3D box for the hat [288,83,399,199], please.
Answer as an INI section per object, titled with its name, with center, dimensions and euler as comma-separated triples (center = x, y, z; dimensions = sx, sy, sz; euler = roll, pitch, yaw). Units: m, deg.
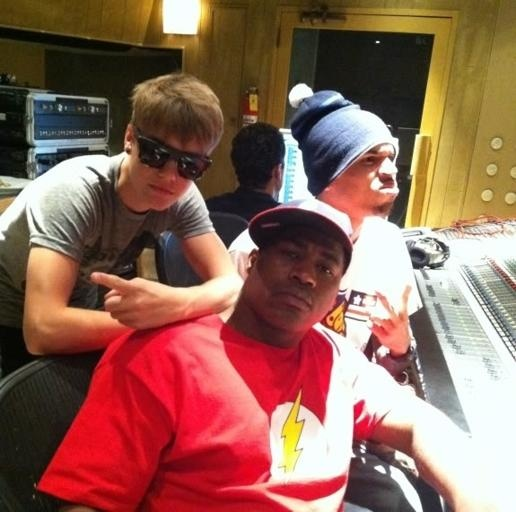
[hat]
center = 0.385, -0.582, 2.073
dimensions = 0.515, 0.621, 0.415
euler = -8, 0, 33
